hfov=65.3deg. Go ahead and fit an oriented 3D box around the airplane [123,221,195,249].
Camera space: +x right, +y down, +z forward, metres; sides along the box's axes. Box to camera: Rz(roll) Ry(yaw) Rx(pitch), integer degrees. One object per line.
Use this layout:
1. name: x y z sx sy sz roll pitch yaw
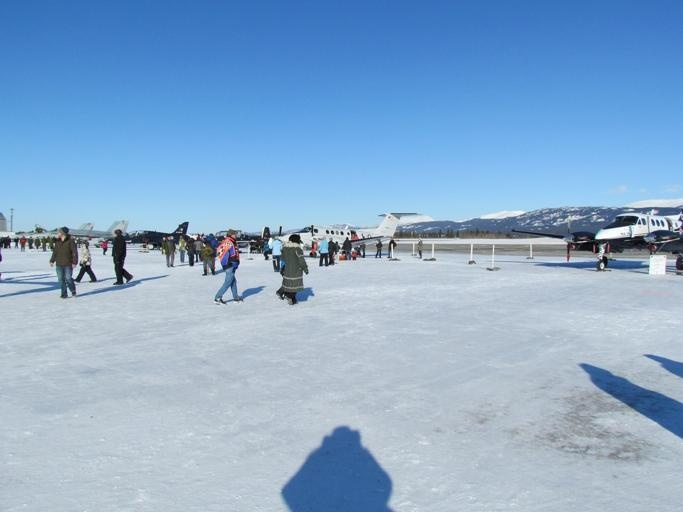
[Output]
1. airplane: -15.403 -1.487 45.036 6.118 1.614 5.024 2 1 -8
